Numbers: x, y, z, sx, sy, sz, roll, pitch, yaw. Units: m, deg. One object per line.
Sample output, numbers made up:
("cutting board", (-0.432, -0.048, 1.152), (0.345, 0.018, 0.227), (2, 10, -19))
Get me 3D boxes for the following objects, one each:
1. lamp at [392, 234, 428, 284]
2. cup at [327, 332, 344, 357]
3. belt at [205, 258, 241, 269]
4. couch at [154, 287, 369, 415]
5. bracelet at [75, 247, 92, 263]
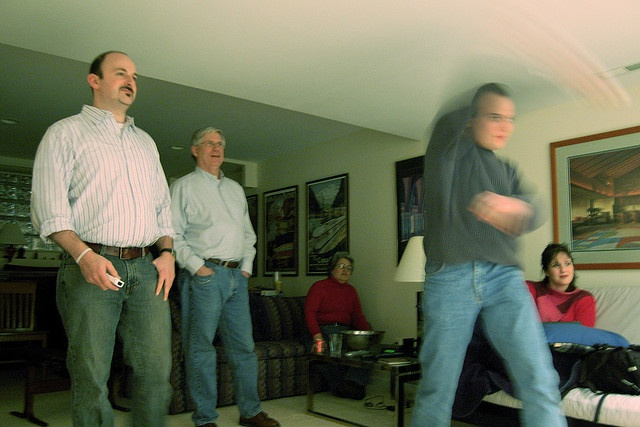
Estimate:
("lamp", (0.793, 0.406, 4.407), (0.485, 0.392, 0.413), (4, -10, 0))
("cup", (0.120, 1.009, 3.912), (0.173, 0.197, 0.143), (8, -16, -26))
("belt", (-0.660, 0.339, 3.442), (0.237, 0.075, 0.043), (4, -8, -42))
("couch", (-0.596, 1.146, 4.474), (0.602, 0.762, 1.675), (18, 0, 36))
("bracelet", (-0.996, 0.179, 2.138), (0.068, 0.064, 0.032), (-1, -6, -4))
